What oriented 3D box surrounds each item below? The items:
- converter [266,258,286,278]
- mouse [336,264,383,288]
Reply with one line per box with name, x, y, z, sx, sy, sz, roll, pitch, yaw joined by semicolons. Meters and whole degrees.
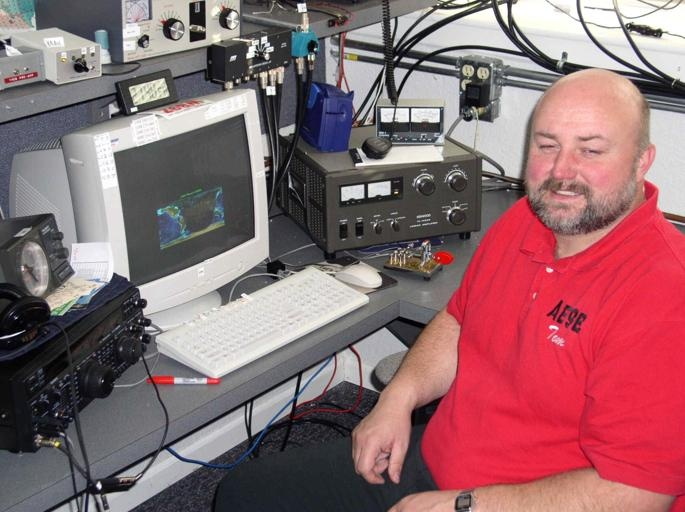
converter;-0.197;0.032;1.732;0.054;0.054;0.055;16;22;34
mouse;0.055;0.044;1.642;0.065;0.033;0.111;-20;34;-41
